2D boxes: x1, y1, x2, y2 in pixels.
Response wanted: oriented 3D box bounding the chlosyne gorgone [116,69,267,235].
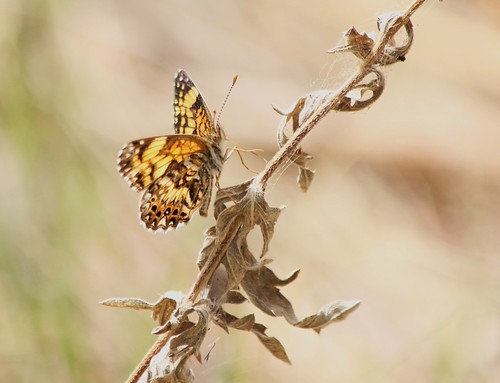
[{"bbox_3d":[-0.194,-0.101,1.726,0.275,0.320,0.259,-22,-47,10],"label":"chlosyne gorgone"}]
